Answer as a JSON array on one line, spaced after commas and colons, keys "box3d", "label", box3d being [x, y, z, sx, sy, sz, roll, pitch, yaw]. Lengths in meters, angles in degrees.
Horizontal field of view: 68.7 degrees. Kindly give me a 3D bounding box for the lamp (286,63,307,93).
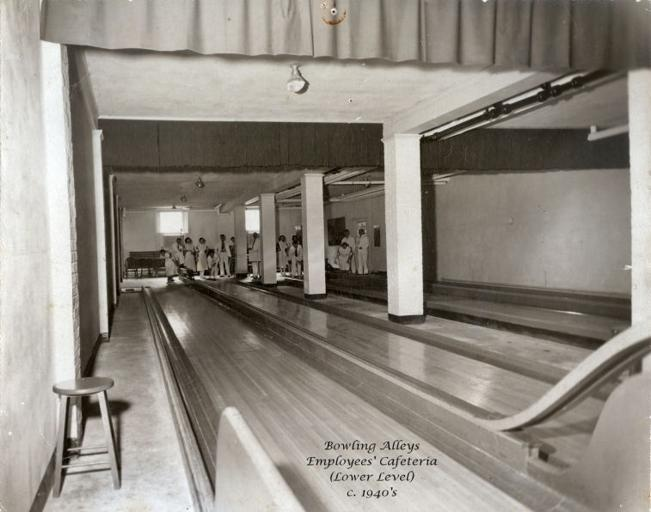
[{"box3d": [-0.312, -1.848, 4.920, 0.187, 0.253, 0.226, -4, -5, -8], "label": "lamp"}]
